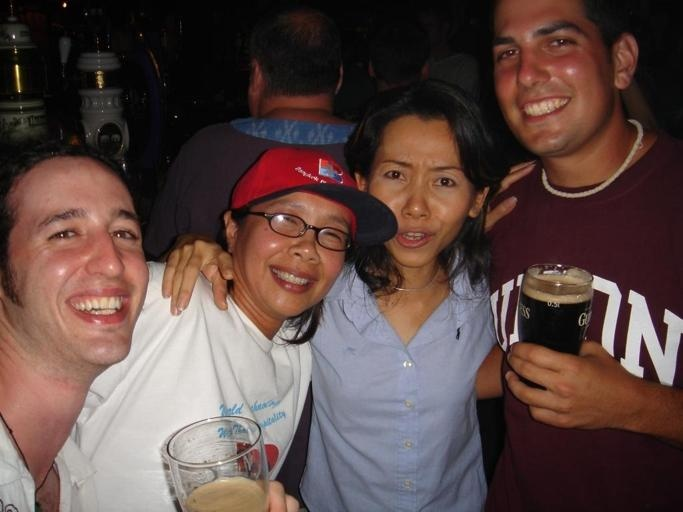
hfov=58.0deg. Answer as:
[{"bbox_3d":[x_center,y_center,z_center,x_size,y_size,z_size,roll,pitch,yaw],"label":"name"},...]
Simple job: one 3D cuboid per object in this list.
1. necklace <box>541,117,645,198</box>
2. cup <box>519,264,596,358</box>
[{"bbox_3d":[1.142,-0.457,2.845,0.347,0.431,0.035,13,30,-32],"label":"necklace"},{"bbox_3d":[0.888,0.228,2.588,0.300,0.378,0.244,2,7,26],"label":"cup"}]
